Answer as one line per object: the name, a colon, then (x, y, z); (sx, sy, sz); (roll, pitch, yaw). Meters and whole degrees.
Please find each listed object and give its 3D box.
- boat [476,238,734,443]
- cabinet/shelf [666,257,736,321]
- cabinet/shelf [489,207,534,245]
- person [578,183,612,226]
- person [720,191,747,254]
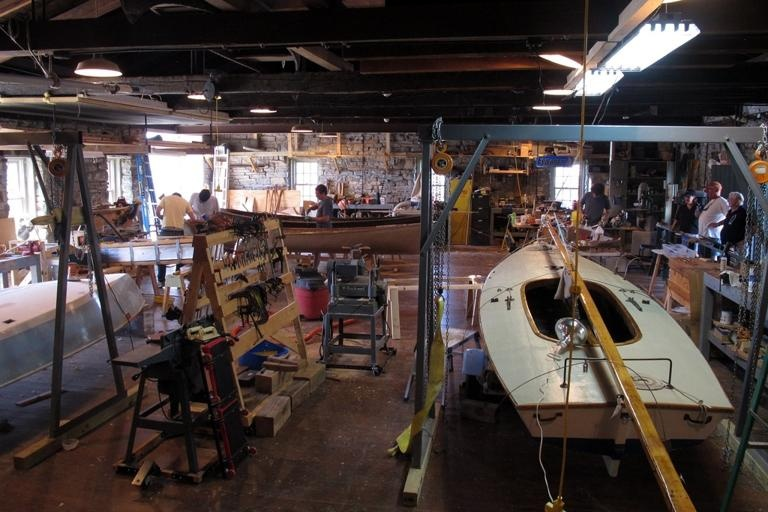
boat: (2.130, 0.903, 6.132); (2.171, 1.260, 2.367); (-1, 11, 1)
cabinet/shelf: (4.589, 0.299, 8.355); (0.755, 0.926, 1.447); (-1, 10, 10)
cabinet/shelf: (3.397, -0.794, 15.536); (1.334, 1.257, 1.020); (1, 20, 6)
person: (4.661, -1.146, 12.641); (0.520, 0.935, 1.076); (-2, 11, -7)
person: (5.212, -0.528, 8.489); (0.255, 0.841, 0.439); (4, 12, 23)
